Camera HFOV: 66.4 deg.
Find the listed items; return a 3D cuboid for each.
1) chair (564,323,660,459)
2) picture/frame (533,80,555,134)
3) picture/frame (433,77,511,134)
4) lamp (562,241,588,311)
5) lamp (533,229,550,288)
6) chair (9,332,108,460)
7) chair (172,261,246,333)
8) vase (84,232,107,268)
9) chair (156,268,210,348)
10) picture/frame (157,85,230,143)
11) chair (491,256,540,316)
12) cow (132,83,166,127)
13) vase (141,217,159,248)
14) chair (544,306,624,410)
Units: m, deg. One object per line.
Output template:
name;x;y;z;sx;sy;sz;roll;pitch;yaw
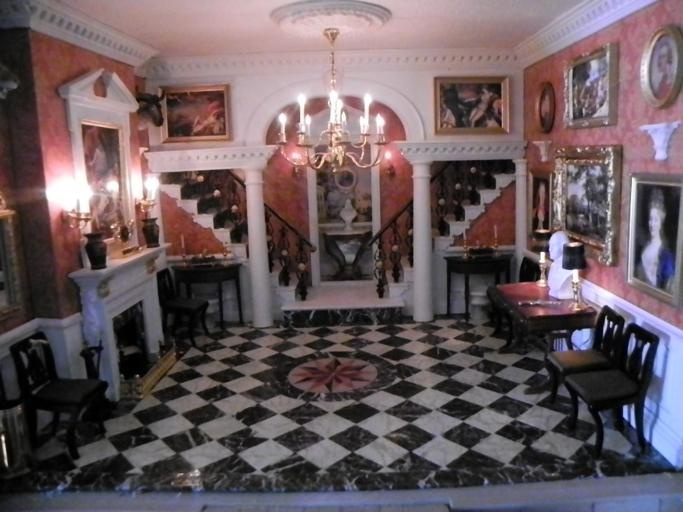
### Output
chair;2.688;1.320;5.316;0.833;1.162;0.824;4;11;29
picture/frame;2.920;-2.120;7.490;0.113;0.716;0.707;10;24;43
picture/frame;2.034;-2.398;8.208;0.828;0.647;0.033;-1;6;0
lamp;2.769;0.208;6.203;0.252;0.754;0.563;2;9;23
lamp;2.877;0.036;7.411;0.295;0.723;0.265;-2;1;29
chair;-3.033;1.478;5.734;0.750;1.184;0.747;2;8;10
chair;-2.251;0.628;8.888;1.113;1.104;0.943;-3;14;5
vase;-2.903;-0.056;6.143;0.218;0.425;0.189;-5;9;-27
chair;-2.506;0.755;8.222;0.741;1.122;0.630;2;9;19
picture/frame;-2.323;-2.264;8.198;0.835;0.736;0.072;0;15;5
chair;2.455;0.416;7.309;0.568;0.814;0.669;-4;24;-1
cow;-2.915;-2.271;8.008;0.485;0.649;0.471;-6;24;-17
vase;-2.687;-0.314;7.328;0.193;0.399;0.120;-5;9;-28
chair;2.674;1.146;5.733;0.666;1.038;0.543;-3;11;4
